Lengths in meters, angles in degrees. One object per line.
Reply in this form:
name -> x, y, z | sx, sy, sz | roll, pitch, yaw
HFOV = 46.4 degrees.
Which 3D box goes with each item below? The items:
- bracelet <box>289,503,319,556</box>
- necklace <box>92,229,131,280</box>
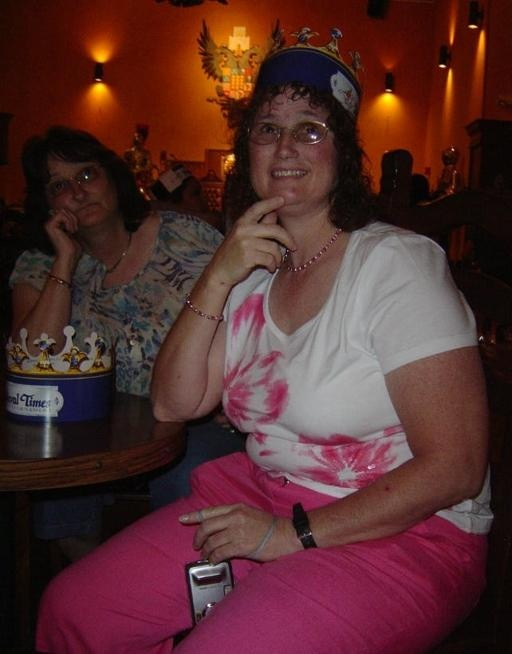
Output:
bracelet -> 0.067, 0.294, 0.859 | 0.035, 0.048, 0.051 | -21, -8, -1
necklace -> -0.383, -0.202, 1.625 | 0.071, 0.092, 0.020 | 29, -7, -25
